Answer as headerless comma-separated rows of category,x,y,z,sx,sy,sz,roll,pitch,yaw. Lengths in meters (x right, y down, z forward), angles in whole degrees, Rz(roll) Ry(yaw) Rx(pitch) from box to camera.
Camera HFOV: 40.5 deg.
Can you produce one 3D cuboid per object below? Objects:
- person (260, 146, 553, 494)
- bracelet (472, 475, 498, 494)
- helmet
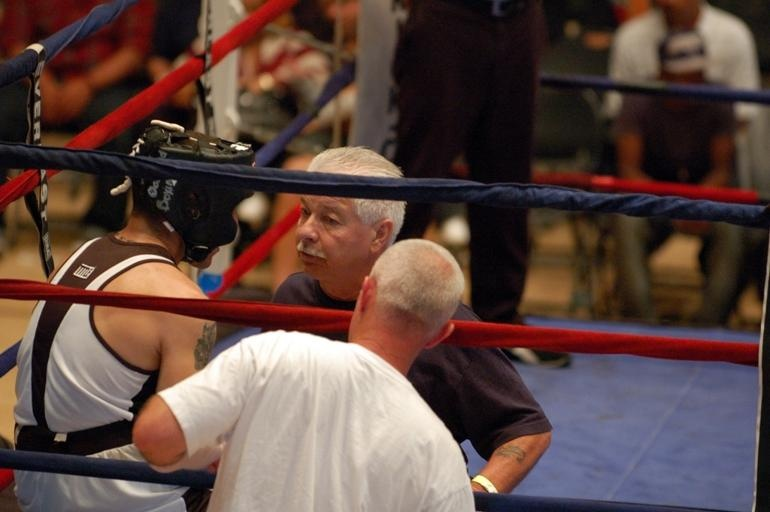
person,0.088,0.234,3.702,0.821,1.106,1.343,-8,14,-38
bracelet,0.334,0.766,3.525,0.068,0.028,0.048,28,13,-10
helmet,-0.647,-0.209,3.534,0.479,0.416,0.353,-7,14,-14
